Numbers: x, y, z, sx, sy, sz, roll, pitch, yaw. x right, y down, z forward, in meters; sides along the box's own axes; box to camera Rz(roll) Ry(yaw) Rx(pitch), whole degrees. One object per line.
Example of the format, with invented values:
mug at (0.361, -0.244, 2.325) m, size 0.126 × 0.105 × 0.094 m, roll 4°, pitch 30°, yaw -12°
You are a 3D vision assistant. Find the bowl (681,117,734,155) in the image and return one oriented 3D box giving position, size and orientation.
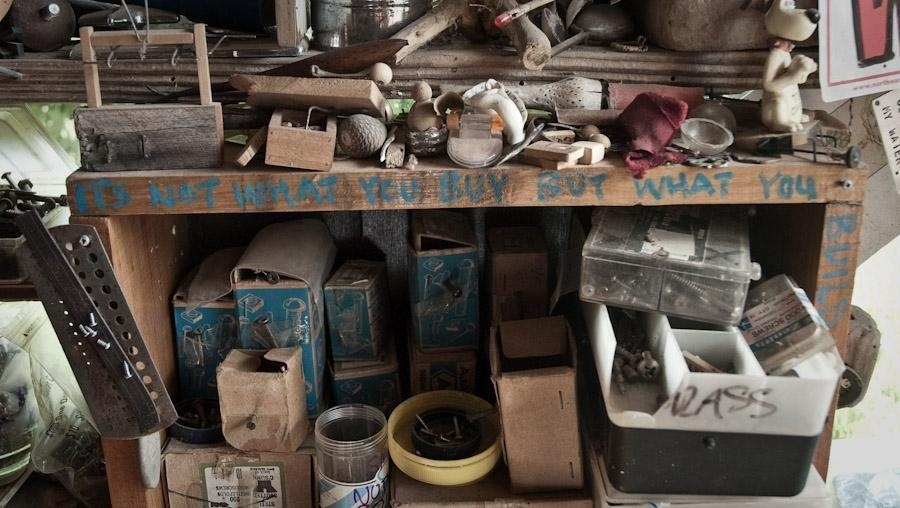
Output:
bowl at (0.981, -0.458, 2.681) m, size 0.246 × 0.088 × 0.245 m, roll 9°, pitch 11°, yaw -2°

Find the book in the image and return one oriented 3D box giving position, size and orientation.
book at (1.211, 0.260, 2.577) m, size 0.178 × 0.185 × 0.319 m, roll 38°, pitch 24°, yaw -25°
